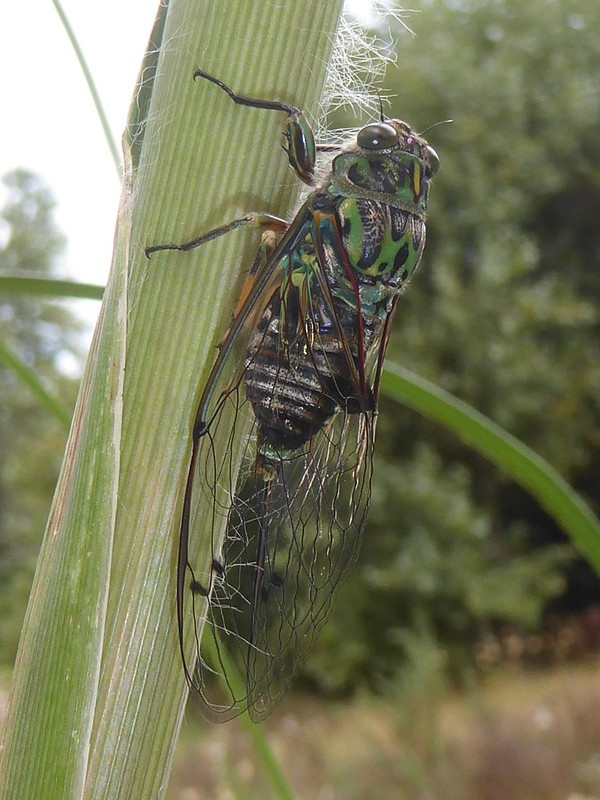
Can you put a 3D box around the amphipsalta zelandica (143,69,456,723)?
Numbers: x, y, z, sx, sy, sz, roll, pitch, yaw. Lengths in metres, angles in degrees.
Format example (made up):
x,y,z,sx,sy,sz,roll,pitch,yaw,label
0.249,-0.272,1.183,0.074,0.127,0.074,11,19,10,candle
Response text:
x,y,z,sx,sy,sz,roll,pitch,yaw,label
-0.036,0.003,0.827,0.287,0.497,0.162,5,8,-29,amphipsalta zelandica
